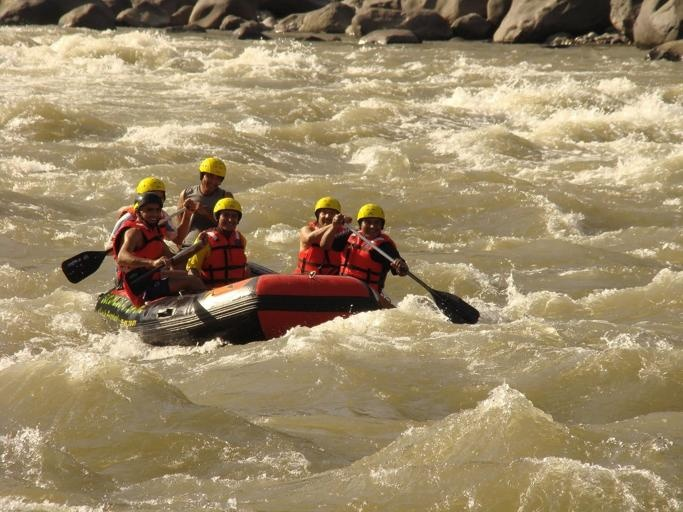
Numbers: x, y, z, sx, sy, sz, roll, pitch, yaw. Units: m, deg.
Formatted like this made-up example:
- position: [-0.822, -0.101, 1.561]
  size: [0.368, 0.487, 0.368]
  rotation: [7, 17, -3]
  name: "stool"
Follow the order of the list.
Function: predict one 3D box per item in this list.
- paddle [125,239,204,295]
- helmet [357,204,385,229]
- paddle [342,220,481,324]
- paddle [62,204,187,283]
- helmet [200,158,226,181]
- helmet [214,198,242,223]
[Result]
- position: [-2.582, 0.147, 17.772]
  size: [1.555, 0.443, 0.120]
  rotation: [-26, 26, -13]
  name: "paddle"
- position: [0.440, -0.609, 18.517]
  size: [0.404, 0.286, 0.438]
  rotation: [1, 9, -3]
  name: "helmet"
- position: [1.055, 0.306, 18.892]
  size: [3.095, 0.150, 0.401]
  rotation: [29, 71, 17]
  name: "paddle"
- position: [-3.257, -0.131, 18.655]
  size: [3.053, 0.354, 0.272]
  rotation: [-22, 18, -11]
  name: "paddle"
- position: [-1.968, -1.326, 18.941]
  size: [0.378, 0.293, 0.485]
  rotation: [20, -6, -35]
  name: "helmet"
- position: [-1.653, -0.709, 18.178]
  size: [0.353, 0.252, 0.382]
  rotation: [3, 13, -15]
  name: "helmet"
